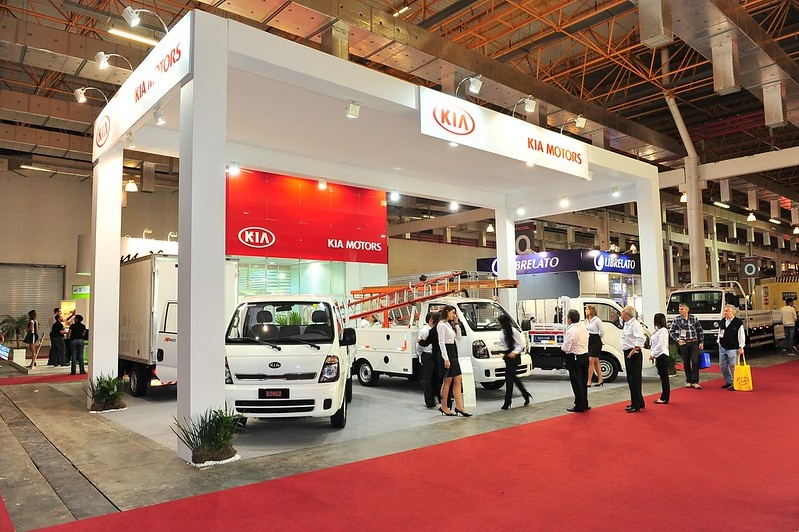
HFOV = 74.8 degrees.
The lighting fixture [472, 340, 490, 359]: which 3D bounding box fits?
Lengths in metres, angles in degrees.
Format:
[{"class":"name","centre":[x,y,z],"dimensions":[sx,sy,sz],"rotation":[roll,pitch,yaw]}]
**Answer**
[{"class":"lighting fixture","centre":[1.868,1.958,12.145],"dimensions":[0.358,0.355,0.182],"rotation":[9,-19,-36]}]

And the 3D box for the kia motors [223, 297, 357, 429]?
[{"class":"kia motors","centre":[-2.051,1.813,10.695],"dimensions":[1.823,1.582,2.908],"rotation":[0,-8,-1]}]

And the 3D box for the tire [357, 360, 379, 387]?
[{"class":"tire","centre":[-0.825,2.872,13.977],"dimensions":[0.829,0.856,0.301],"rotation":[-2,-3,43]}]

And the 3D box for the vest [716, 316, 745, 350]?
[{"class":"vest","centre":[8.175,1.667,12.884],"dimensions":[0.519,0.759,0.785],"rotation":[-1,0,31]}]

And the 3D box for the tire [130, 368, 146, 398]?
[{"class":"tire","centre":[-6.454,2.894,12.911],"dimensions":[0.258,0.736,0.716],"rotation":[7,1,-39]}]

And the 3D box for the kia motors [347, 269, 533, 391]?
[{"class":"kia motors","centre":[1.033,1.585,14.074],"dimensions":[6.400,3.152,2.336],"rotation":[-3,-5,43]}]

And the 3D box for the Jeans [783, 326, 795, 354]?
[{"class":"Jeans","centre":[14.768,2.783,19.759],"dimensions":[0.335,1.007,0.776],"rotation":[-1,0,36]}]

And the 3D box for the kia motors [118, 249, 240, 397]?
[{"class":"kia motors","centre":[-5.692,1.363,14.110],"dimensions":[2.261,3.019,4.406],"rotation":[1,-3,-40]}]

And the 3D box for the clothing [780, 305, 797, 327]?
[{"class":"clothing","centre":[14.677,1.885,19.712],"dimensions":[0.395,0.749,0.727],"rotation":[-1,0,38]}]

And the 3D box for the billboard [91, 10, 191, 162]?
[{"class":"billboard","centre":[-5.783,-4.119,11.656],"dimensions":[0.412,1.486,5.990],"rotation":[6,-18,-37]}]

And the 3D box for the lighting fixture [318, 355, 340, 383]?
[{"class":"lighting fixture","centre":[-1.247,1.879,9.435],"dimensions":[0.319,0.467,0.118],"rotation":[3,-10,-19]}]

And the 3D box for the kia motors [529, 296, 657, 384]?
[{"class":"kia motors","centre":[5.838,1.938,14.741],"dimensions":[4.033,1.981,1.889],"rotation":[-5,-8,27]}]

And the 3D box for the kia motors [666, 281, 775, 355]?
[{"class":"kia motors","centre":[12.137,2.040,20.136],"dimensions":[6.982,3.041,2.528],"rotation":[4,-8,-41]}]

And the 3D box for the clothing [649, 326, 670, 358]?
[{"class":"clothing","centre":[5.720,1.691,11.485],"dimensions":[0.395,0.536,0.265],"rotation":[-1,0,7]}]

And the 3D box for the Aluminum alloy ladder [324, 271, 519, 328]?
[{"class":"Aluminum alloy ladder","centre":[0.082,0.906,15.357],"dimensions":[4.091,0.999,2.220],"rotation":[-4,-6,25]}]

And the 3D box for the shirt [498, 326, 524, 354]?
[{"class":"shirt","centre":[2.486,1.622,11.370],"dimensions":[0.466,0.566,0.406],"rotation":[-1,0,-3]}]
